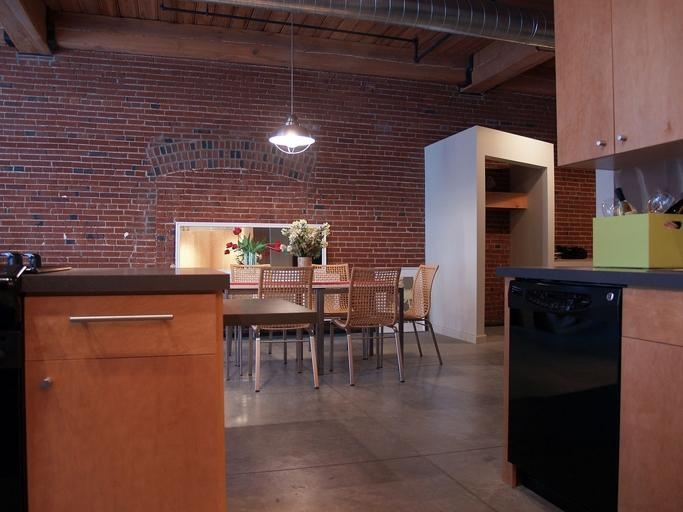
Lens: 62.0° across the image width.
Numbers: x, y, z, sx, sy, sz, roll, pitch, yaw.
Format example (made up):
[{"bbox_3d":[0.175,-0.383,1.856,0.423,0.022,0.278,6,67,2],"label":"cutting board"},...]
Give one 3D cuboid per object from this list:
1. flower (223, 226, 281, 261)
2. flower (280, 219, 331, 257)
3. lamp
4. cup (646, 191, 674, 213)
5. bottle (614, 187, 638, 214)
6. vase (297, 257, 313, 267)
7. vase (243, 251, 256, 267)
[{"bbox_3d":[-1.053,-0.056,6.957,0.639,0.332,0.715,6,7,13],"label":"flower"},{"bbox_3d":[-0.352,-0.182,5.663,0.461,0.422,0.427,16,-4,-14],"label":"flower"},{"bbox_3d":[-0.583,-2.019,6.470,0.560,1.625,1.879,0,3,-4],"label":"lamp"},{"bbox_3d":[1.707,-0.288,3.023,0.107,0.075,0.095,-33,19,8],"label":"cup"},{"bbox_3d":[1.533,-0.296,3.070,0.091,0.134,0.165,1,3,19],"label":"bottle"},{"bbox_3d":[-0.364,0.057,5.559,0.098,0.078,0.102,1,3,-10],"label":"vase"},{"bbox_3d":[-1.061,0.032,6.562,0.144,0.225,0.155,0,0,-13],"label":"vase"}]
